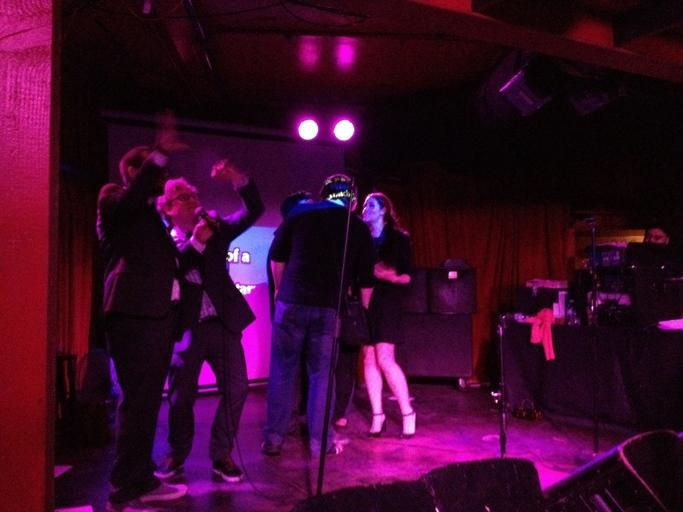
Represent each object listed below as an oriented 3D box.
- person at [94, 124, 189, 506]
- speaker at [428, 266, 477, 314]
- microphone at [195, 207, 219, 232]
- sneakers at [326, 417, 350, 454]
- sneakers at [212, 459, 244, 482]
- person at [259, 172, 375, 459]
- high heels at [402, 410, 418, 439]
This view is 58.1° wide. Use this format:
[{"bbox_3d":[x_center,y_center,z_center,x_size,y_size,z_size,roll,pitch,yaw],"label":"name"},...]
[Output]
[{"bbox_3d":[-1.248,0.381,3.788,0.555,2.351,0.322,3,-3,-17],"label":"person"},{"bbox_3d":[1.213,0.355,6.789,0.481,0.517,0.492,0,1,2],"label":"speaker"},{"bbox_3d":[-0.953,-0.250,4.294,0.077,0.084,0.249,-34,53,-28],"label":"microphone"},{"bbox_3d":[-0.029,1.433,4.749,0.092,0.139,0.315,-2,-9,11],"label":"sneakers"},{"bbox_3d":[-0.786,1.471,4.237,0.231,0.114,0.106,-4,-5,42],"label":"sneakers"},{"bbox_3d":[-0.271,0.448,4.669,0.598,2.132,0.417,2,-2,-6],"label":"person"},{"bbox_3d":[0.560,1.388,5.066,0.102,0.279,0.087,5,-13,-15],"label":"high heels"}]
